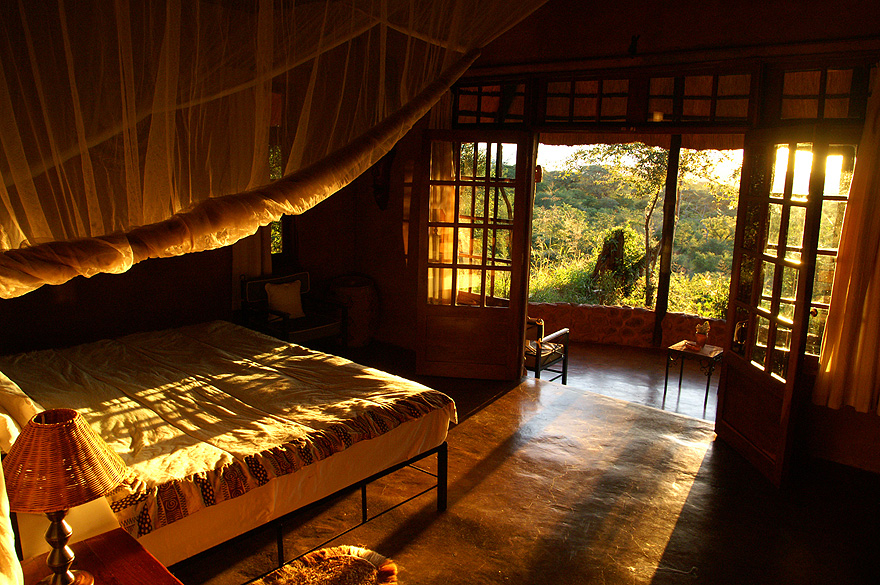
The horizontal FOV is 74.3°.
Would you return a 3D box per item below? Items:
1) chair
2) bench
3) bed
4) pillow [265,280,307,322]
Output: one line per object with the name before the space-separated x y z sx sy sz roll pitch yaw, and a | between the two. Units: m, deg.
chair | -1.558 0.154 6.167 0.884 1.135 0.889 11 16 43
bench | 0.696 0.483 6.082 0.771 1.115 0.615 -25 31 -36
bed | -1.076 0.717 3.510 1.572 0.270 1.627 14 13 42
pillow | -1.599 0.085 5.966 0.419 0.390 0.140 1 -23 -44
